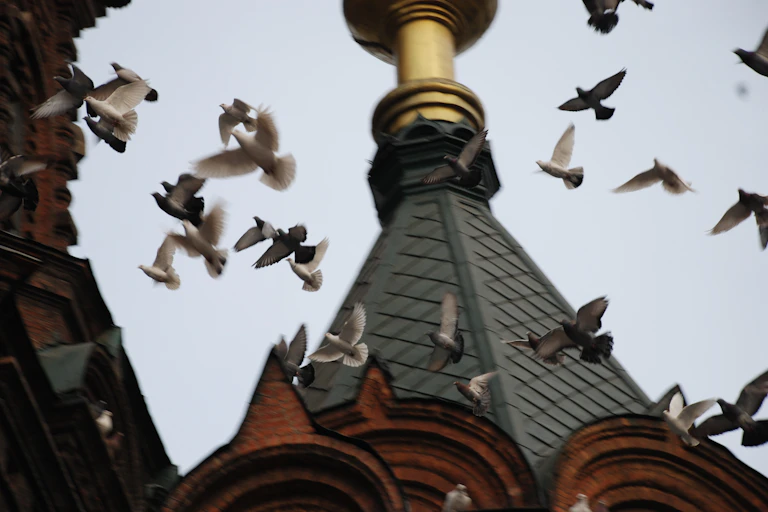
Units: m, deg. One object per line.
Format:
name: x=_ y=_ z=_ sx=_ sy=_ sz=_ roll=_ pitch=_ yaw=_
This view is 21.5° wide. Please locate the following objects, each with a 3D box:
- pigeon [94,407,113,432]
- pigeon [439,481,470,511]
pigeon: x=-3.725 y=2.188 z=27.084 sx=0.255 sy=0.291 sz=0.257 roll=-24 pitch=-28 yaw=14
pigeon: x=0.973 y=3.268 z=27.369 sx=0.362 sy=0.491 sz=0.256 roll=16 pitch=-28 yaw=4
